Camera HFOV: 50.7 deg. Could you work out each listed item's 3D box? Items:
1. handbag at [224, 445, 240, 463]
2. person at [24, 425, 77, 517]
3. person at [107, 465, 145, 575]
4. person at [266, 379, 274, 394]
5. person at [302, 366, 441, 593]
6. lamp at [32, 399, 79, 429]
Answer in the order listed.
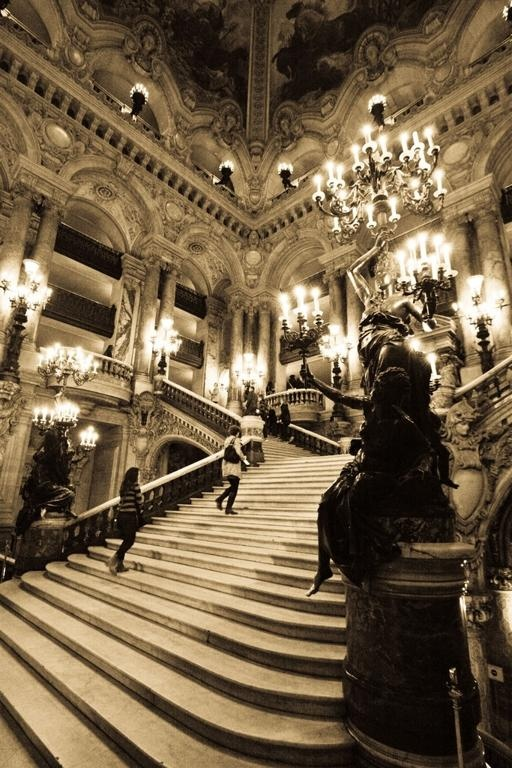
[{"bbox_3d":[-0.322,0.953,7.256,0.173,0.248,0.137,-7,-29,3],"label":"handbag"},{"bbox_3d":[-2.872,1.241,7.640,0.649,1.199,0.454,11,-13,-36],"label":"person"},{"bbox_3d":[-1.535,1.611,6.501,0.338,1.205,1.184,5,-11,-11],"label":"person"},{"bbox_3d":[0.437,0.099,17.178,0.277,0.340,0.747,-1,32,3],"label":"person"},{"bbox_3d":[0.784,0.593,3.463,0.815,1.408,0.465,-1,-11,20],"label":"person"},{"bbox_3d":[-3.616,0.526,9.633,0.620,0.811,0.630,-2,-9,15],"label":"lamp"}]
